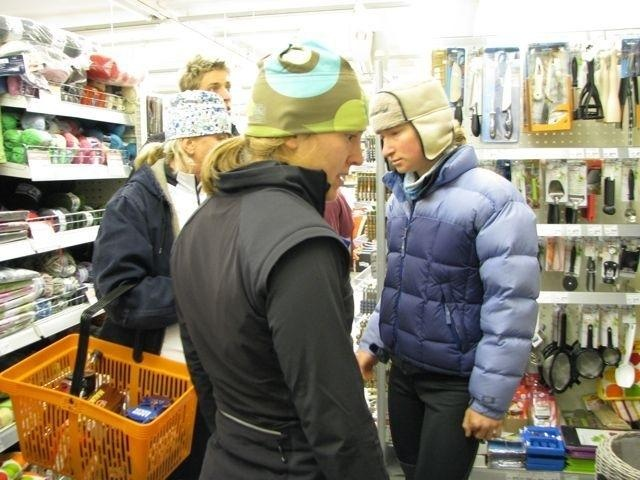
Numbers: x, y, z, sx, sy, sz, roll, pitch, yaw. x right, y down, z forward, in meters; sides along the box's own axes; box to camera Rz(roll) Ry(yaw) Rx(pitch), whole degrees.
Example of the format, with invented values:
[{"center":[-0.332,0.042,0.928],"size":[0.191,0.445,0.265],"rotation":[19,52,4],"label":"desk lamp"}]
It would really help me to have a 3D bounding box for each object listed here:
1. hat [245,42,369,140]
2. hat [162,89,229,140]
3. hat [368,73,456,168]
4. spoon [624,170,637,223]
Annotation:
[{"center":[-0.060,-0.547,1.739],"size":[0.437,0.306,0.308],"rotation":[0,27,9],"label":"hat"},{"center":[-0.672,-0.665,2.695],"size":[0.369,0.305,0.306],"rotation":[-3,-6,2],"label":"hat"},{"center":[0.488,-0.669,2.658],"size":[0.441,0.418,0.409],"rotation":[-15,23,-5],"label":"hat"},{"center":[2.084,-0.293,3.285],"size":[0.067,0.350,0.143],"rotation":[4,5,34],"label":"spoon"}]
